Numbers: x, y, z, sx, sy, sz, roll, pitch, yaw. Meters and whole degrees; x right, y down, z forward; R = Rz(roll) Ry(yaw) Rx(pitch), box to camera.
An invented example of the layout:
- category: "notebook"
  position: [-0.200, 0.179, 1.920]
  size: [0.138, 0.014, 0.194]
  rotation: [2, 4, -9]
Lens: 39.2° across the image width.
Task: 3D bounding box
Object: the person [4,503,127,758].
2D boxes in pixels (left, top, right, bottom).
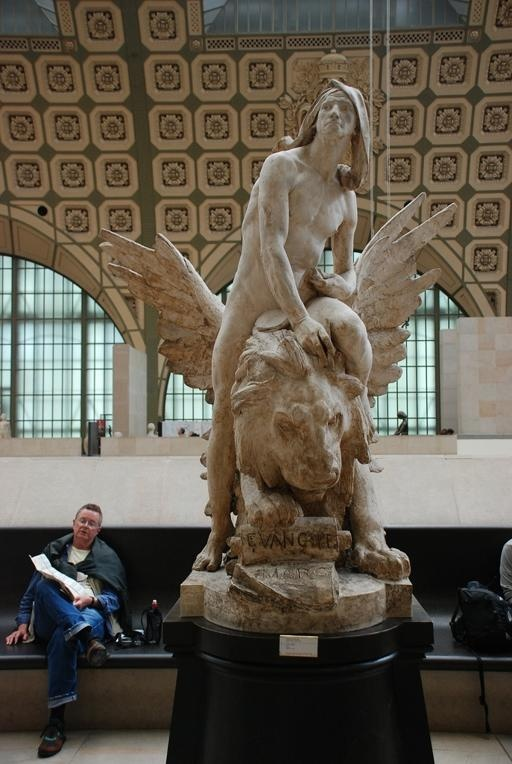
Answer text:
- category: "person"
  position: [-0.973, 1.273, 4.004]
  size: [0.517, 1.060, 1.134]
  rotation: [-2, -2, -11]

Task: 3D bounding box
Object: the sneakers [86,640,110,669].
- category: "sneakers"
  position: [-0.806, 1.368, 3.645]
  size: [0.079, 0.157, 0.072]
  rotation: [-11, 47, -26]

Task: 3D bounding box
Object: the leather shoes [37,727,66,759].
- category: "leather shoes"
  position: [-0.989, 1.735, 3.492]
  size: [0.098, 0.098, 0.201]
  rotation: [-2, -2, 0]

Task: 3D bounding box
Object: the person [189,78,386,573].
- category: "person"
  position: [0.125, -0.229, 3.041]
  size: [0.824, 2.051, 0.693]
  rotation: [-2, -2, -6]
